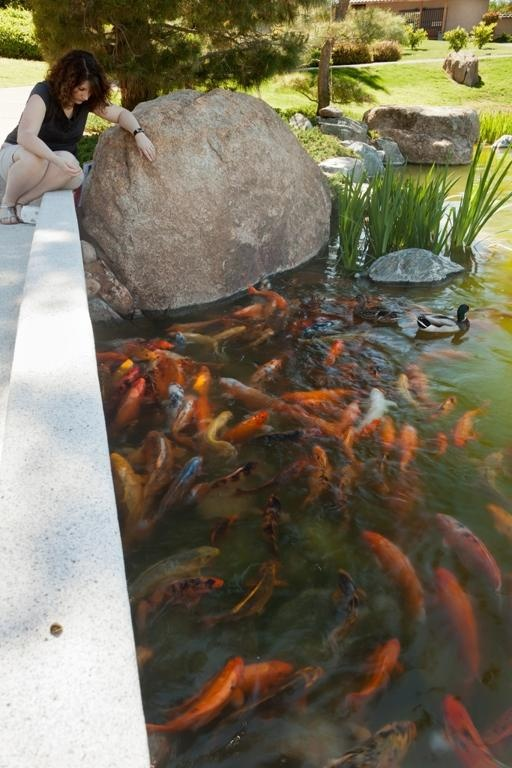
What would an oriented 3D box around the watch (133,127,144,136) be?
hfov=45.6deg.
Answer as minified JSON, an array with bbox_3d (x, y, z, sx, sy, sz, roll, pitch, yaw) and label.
[{"bbox_3d":[-0.739,-1.572,3.807,0.063,0.017,0.060,22,73,31],"label":"watch"}]
